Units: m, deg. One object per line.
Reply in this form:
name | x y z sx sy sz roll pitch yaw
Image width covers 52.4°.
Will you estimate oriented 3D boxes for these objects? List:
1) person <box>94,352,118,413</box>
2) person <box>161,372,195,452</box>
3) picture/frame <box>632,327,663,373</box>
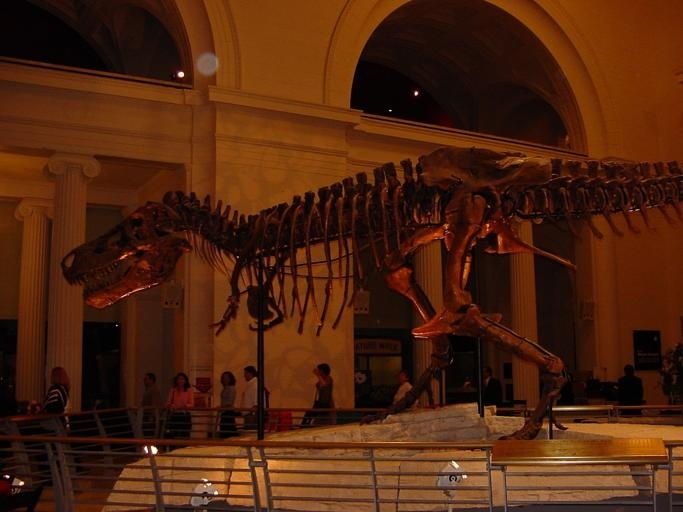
person | -5.727 3.036 17.024 0.597 1.374 0.261 4 -12 -19
person | -2.685 2.619 11.285 0.400 1.362 0.409 11 5 15
picture/frame | 7.733 2.363 17.531 0.791 0.937 0.054 1 -7 -13
